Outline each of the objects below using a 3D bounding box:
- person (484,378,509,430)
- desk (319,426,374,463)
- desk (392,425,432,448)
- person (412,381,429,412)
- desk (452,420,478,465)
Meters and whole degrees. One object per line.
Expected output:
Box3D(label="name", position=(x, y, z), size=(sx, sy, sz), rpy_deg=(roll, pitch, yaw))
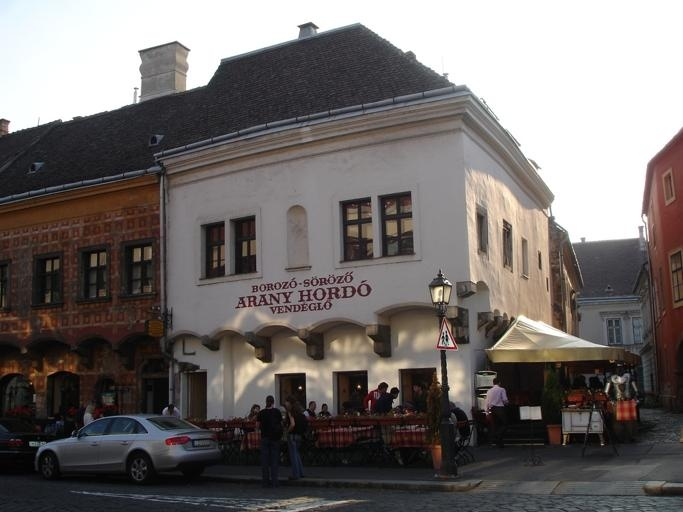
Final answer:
Box3D(label="person", position=(5.023, 4.787, 29.393), size=(0.694, 1.642, 0.998), rpy_deg=(-5, -14, 8))
Box3D(label="desk", position=(0.173, 5.489, 27.017), size=(1.248, 0.472, 1.285), rpy_deg=(-5, -7, 23))
Box3D(label="desk", position=(2.055, 5.185, 26.082), size=(1.219, 0.698, 0.409), rpy_deg=(-13, -17, 32))
Box3D(label="person", position=(2.598, 4.614, 29.412), size=(0.423, 1.399, 0.503), rpy_deg=(-6, -34, 13))
Box3D(label="desk", position=(3.809, 5.668, 27.624), size=(0.820, 1.021, 0.861), rpy_deg=(7, -18, 3))
